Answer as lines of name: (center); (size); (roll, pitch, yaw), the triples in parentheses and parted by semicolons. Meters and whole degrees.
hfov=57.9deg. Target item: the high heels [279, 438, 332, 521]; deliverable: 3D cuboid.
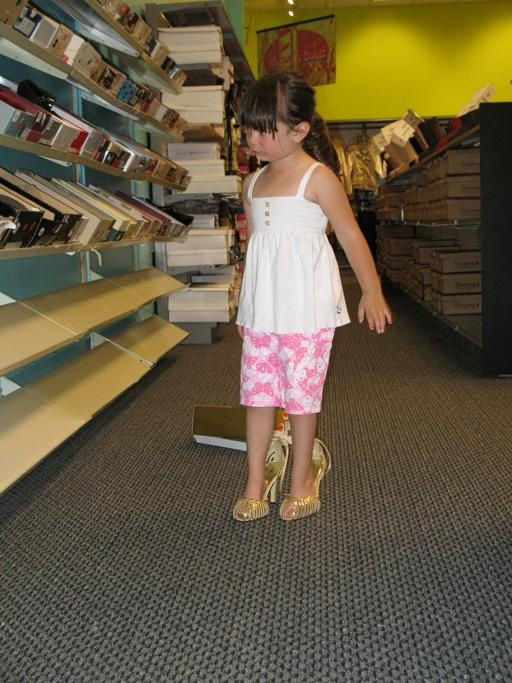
high heels: (0.160, 0.435, 1.428); (0.088, 0.068, 0.321); (-6, 19, 17)

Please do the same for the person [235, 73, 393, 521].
person: (0.127, -0.094, 1.266); (0.458, 1.164, 0.353); (-2, 2, 14)

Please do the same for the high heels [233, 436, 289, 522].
high heels: (0.026, 0.425, 1.400); (0.081, 0.105, 0.263); (-2, 1, 16)
